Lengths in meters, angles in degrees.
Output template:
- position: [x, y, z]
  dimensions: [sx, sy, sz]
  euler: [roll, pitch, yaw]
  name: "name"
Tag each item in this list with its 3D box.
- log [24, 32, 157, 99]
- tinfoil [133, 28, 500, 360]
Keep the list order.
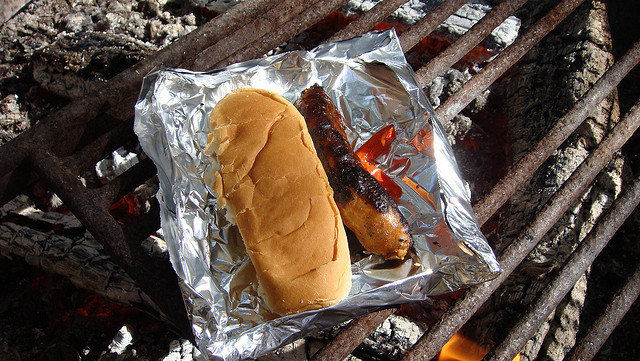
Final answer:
- position: [-3.161, -1.552, 8.727]
  dimensions: [1.080, 0.948, 1.498]
  euler: [6, 21, 32]
  name: "log"
- position: [-0.463, 0.620, 8.543]
  dimensions: [3.455, 1.104, 3.834]
  euler: [-18, 78, -7]
  name: "tinfoil"
